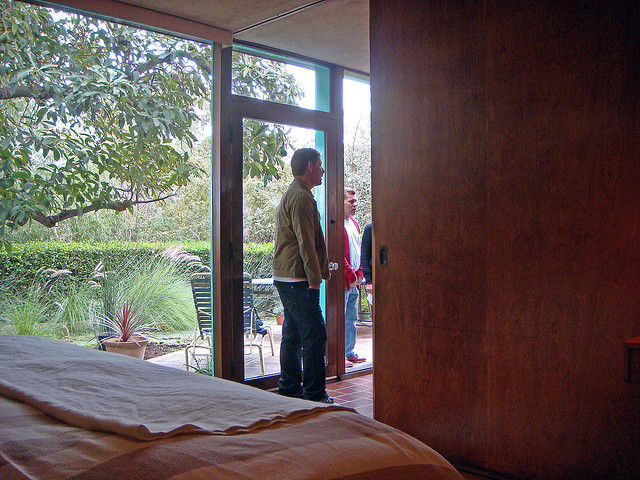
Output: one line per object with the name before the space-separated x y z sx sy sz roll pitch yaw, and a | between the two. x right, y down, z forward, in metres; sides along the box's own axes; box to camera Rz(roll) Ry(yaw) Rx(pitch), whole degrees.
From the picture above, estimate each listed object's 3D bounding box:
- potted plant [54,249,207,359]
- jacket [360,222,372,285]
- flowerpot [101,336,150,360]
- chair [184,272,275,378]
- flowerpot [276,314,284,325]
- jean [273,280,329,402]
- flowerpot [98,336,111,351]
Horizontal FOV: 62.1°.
potted plant | -1.508 0.705 4.171 0.671 0.556 0.834 -7 -11 11
jacket | 0.427 0.130 4.921 0.095 0.539 0.292 3 9 3
flowerpot | -1.506 0.833 4.117 0.253 0.206 0.265 -1 0 13
chair | -0.778 0.697 4.594 0.748 1.142 0.771 0 0 2
flowerpot | -0.338 0.670 4.431 0.064 0.054 0.067 0 -2 -11
jean | -0.163 0.729 3.966 0.266 0.945 0.404 1 -8 -39
flowerpot | -1.676 0.790 4.131 0.111 0.129 0.111 -3 2 -36
